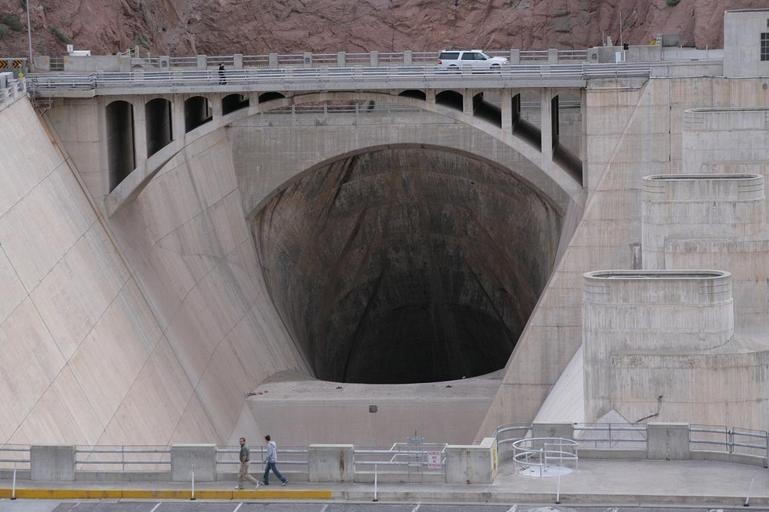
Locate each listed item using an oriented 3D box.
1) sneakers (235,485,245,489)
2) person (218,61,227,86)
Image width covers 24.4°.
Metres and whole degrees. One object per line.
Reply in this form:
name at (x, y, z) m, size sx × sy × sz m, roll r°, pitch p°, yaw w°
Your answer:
sneakers at (-6.683, 10.431, 81.767) m, size 0.286 × 0.184 × 0.212 m, roll 1°, pitch -15°, yaw 0°
person at (-9.272, -10.043, 101.113) m, size 0.414 × 1.373 × 0.676 m, roll 3°, pitch -15°, yaw -7°
